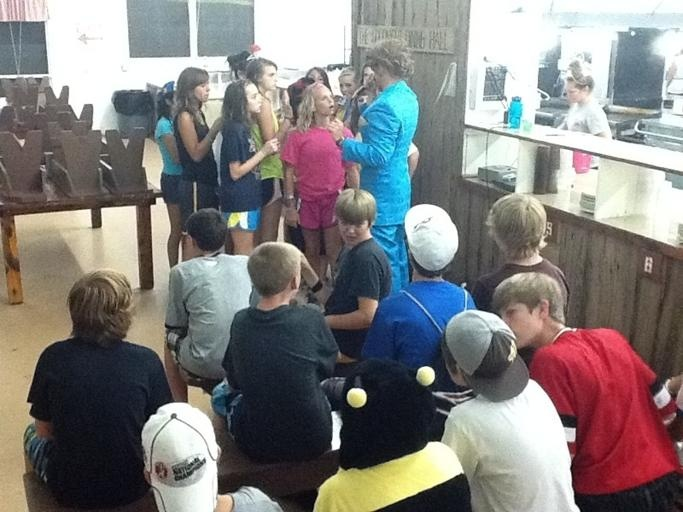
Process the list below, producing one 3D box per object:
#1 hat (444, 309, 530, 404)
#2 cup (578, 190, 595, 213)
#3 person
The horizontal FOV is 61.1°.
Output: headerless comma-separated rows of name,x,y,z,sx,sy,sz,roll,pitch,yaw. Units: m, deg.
hat,0.552,0.376,2.197,0.252,0.290,0.277,-5,14,-24
cup,1.736,-0.374,4.114,0.115,0.107,0.119,0,11,0
person,0.404,0.393,3.419,3.199,1.181,1.184,-3,14,-17
